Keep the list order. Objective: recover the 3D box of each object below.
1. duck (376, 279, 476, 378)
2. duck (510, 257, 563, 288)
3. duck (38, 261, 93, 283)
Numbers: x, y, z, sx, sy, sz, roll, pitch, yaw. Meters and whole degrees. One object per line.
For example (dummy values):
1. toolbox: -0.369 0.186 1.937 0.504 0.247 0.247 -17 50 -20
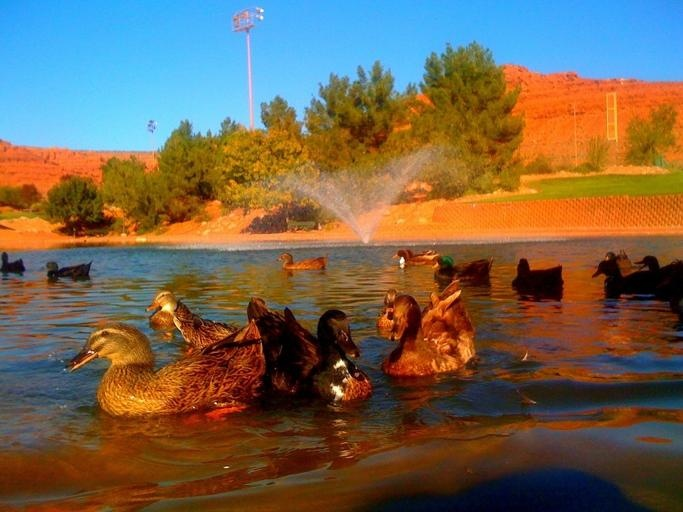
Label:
1. duck: 0.902 0.898 8.778 0.821 0.998 1.366 -1 23 37
2. duck: 4.078 0.372 14.635 0.892 0.549 0.577 1 -4 26
3. duck: -7.830 0.437 20.196 1.135 0.559 1.895 -2 0 -23
